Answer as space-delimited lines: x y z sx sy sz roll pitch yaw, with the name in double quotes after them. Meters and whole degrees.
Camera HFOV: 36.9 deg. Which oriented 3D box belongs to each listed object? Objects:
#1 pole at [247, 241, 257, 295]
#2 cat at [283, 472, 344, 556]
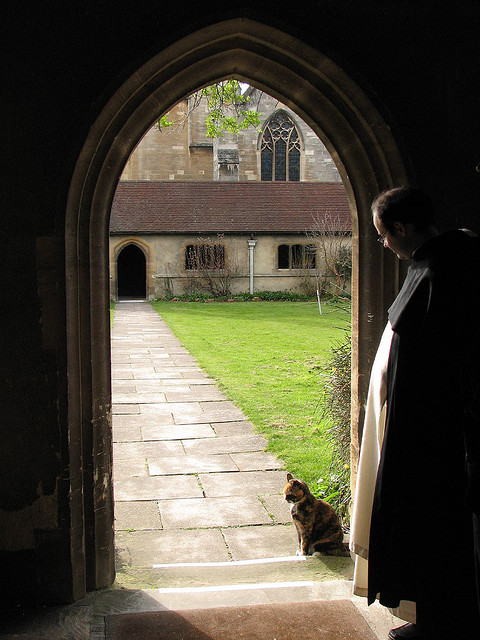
0.390 -1.749 23.894 0.269 1.729 0.225 1 1 -12 "pole"
0.362 0.950 3.532 0.300 0.410 0.172 2 -1 -23 "cat"
